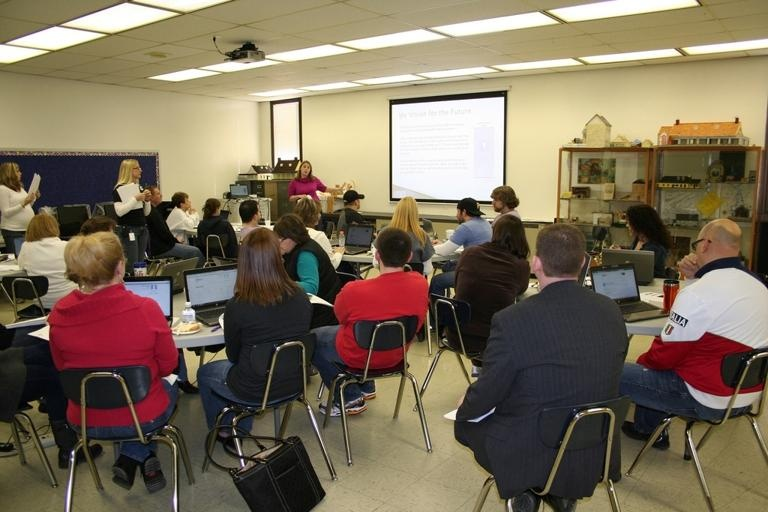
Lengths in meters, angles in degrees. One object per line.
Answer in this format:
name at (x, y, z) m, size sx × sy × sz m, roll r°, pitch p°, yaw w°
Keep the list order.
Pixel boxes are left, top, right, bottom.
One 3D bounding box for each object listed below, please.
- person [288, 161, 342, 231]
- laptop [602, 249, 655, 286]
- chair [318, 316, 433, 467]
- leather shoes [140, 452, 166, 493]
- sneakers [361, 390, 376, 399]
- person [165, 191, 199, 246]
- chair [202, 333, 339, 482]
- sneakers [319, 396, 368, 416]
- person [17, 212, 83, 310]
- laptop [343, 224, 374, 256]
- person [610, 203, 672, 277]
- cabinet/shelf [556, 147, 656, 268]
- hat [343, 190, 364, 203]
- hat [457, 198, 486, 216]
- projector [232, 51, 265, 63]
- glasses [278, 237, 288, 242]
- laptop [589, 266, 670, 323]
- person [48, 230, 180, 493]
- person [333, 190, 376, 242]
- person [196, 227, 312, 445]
person at (-1.142, -0.934, 9.522) m, size 0.944 × 1.332 × 0.487 m, roll 0°, pitch 24°, yaw -11°
laptop at (2.332, 0.028, 5.317) m, size 0.456 × 0.319 × 0.333 m, roll 4°, pitch 28°, yaw 29°
chair at (-0.055, 0.964, 4.314) m, size 0.824 × 0.931 × 0.833 m, roll 0°, pitch 1°, yaw 14°
leather shoes at (-1.563, 1.476, 3.813) m, size 0.147 × 0.281 × 0.100 m, roll -22°, pitch 14°, yaw -31°
sneakers at (-0.129, 1.224, 4.953) m, size 0.126 × 0.056 × 0.048 m, roll 3°, pitch 1°, yaw 23°
person at (-3.187, -0.474, 8.870) m, size 0.535 × 1.069 × 0.370 m, roll 3°, pitch 23°, yaw -21°
chair at (-0.830, 1.035, 3.981) m, size 0.890 × 0.979 × 0.961 m, roll 0°, pitch 3°, yaw -4°
sneakers at (-0.314, 1.275, 4.737) m, size 0.450 × 0.201 × 0.164 m, roll 2°, pitch -3°, yaw 6°
person at (-3.397, 0.119, 5.616) m, size 0.470 × 1.126 × 0.661 m, roll -3°, pitch 24°, yaw -32°
laptop at (-0.322, -0.203, 6.715) m, size 0.404 × 0.348 × 0.294 m, roll 5°, pitch 3°, yaw 17°
person at (2.539, -0.164, 5.599) m, size 0.621 × 0.699 × 0.744 m, roll -3°, pitch 6°, yaw -29°
cabinet/shelf at (3.412, -0.818, 8.812) m, size 1.299 × 1.721 × 0.471 m, roll 4°, pitch -2°, yaw 11°
hat at (-0.412, -0.816, 7.484) m, size 0.150 × 0.168 × 0.329 m, roll 1°, pitch 10°, yaw 12°
hat at (0.955, -0.577, 6.328) m, size 0.273 × 0.163 × 0.199 m, roll 11°, pitch 13°, yaw 41°
projector at (-1.698, -2.536, 7.064) m, size 0.252 × 0.058 × 0.247 m, roll -1°, pitch 2°, yaw 30°
glasses at (-0.843, -0.153, 4.693) m, size 0.078 × 0.020 × 0.075 m, roll 2°, pitch -2°, yaw 7°
laptop at (1.931, 0.271, 4.382) m, size 0.447 × 0.319 × 0.453 m, roll -5°, pitch 14°, yaw -12°
person at (-1.671, 0.757, 3.508) m, size 0.744 × 1.808 × 0.439 m, roll -4°, pitch 11°, yaw -14°
person at (-0.408, -0.537, 7.580) m, size 0.629 × 0.798 × 0.460 m, roll 14°, pitch 27°, yaw 29°
person at (-0.892, 0.633, 3.878) m, size 0.779 × 1.675 × 0.529 m, roll -5°, pitch 11°, yaw -18°
